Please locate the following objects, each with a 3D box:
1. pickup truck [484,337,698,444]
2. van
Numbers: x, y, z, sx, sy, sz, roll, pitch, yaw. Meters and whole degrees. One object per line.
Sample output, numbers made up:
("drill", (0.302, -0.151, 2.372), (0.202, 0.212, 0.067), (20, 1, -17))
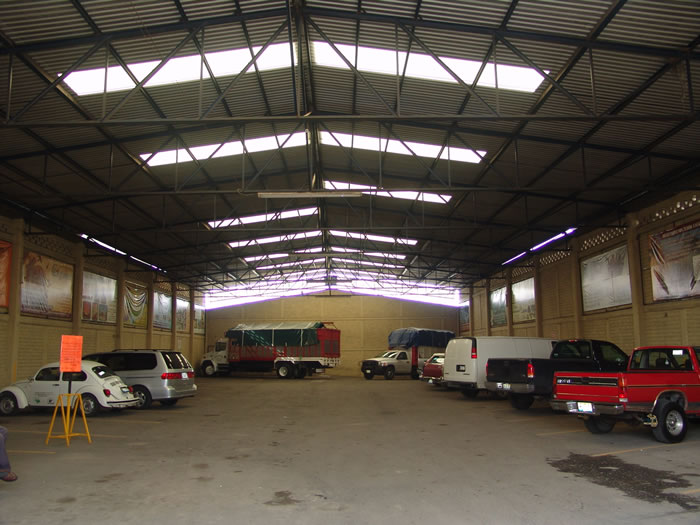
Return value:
("pickup truck", (6.301, 2.895, 12.426), (2.892, 2.027, 1.507), (2, -10, -12))
("van", (5.425, 3.739, 20.420), (3.282, 1.699, 2.134), (0, -4, -13))
